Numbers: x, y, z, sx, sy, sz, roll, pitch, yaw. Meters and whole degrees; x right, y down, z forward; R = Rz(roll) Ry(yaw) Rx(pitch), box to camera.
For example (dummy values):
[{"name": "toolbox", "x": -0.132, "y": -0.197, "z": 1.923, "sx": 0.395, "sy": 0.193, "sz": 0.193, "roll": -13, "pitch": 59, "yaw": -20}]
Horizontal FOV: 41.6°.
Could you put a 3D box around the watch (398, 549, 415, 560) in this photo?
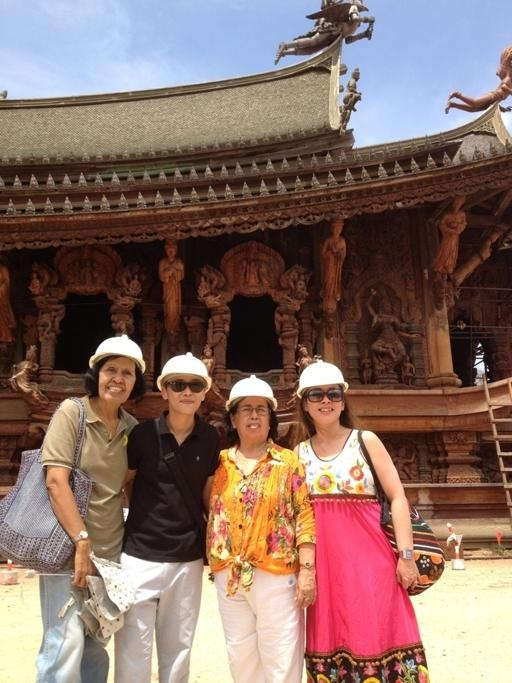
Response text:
[{"name": "watch", "x": 0.681, "y": 0.960, "z": 3.036, "sx": 0.053, "sy": 0.052, "sz": 0.053, "roll": -2, "pitch": -3, "yaw": 12}]

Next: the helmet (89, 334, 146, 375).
[{"name": "helmet", "x": -0.693, "y": 0.053, "z": 3.447, "sx": 0.192, "sy": 0.109, "sz": 0.216, "roll": 9, "pitch": -30, "yaw": -7}]

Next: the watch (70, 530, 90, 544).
[{"name": "watch", "x": -0.747, "y": 0.838, "z": 2.880, "sx": 0.068, "sy": 0.039, "sz": 0.067, "roll": -26, "pitch": 0, "yaw": 18}]

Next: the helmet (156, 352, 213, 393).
[{"name": "helmet", "x": -0.367, "y": 0.142, "z": 3.503, "sx": 0.204, "sy": 0.116, "sz": 0.233, "roll": 6, "pitch": -24, "yaw": -5}]

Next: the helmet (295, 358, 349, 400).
[{"name": "helmet", "x": 0.329, "y": 0.196, "z": 3.488, "sx": 0.201, "sy": 0.113, "sz": 0.231, "roll": -3, "pitch": -14, "yaw": -1}]

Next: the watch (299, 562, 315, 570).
[{"name": "watch", "x": 0.226, "y": 0.994, "z": 3.002, "sx": 0.039, "sy": 0.010, "sz": 0.040, "roll": -4, "pitch": 4, "yaw": 42}]
